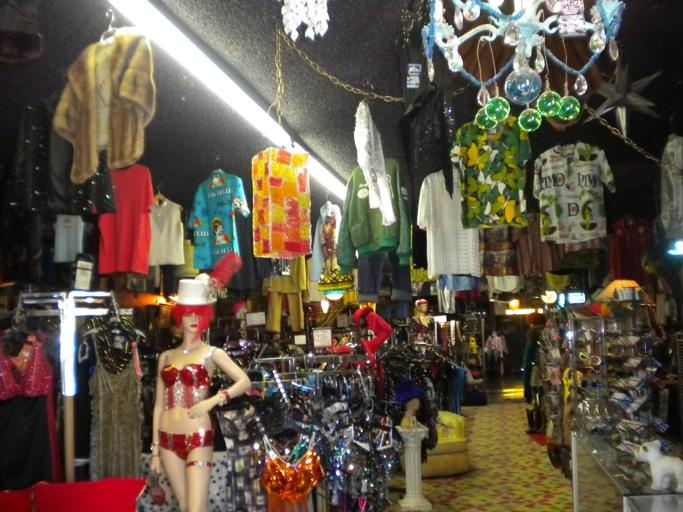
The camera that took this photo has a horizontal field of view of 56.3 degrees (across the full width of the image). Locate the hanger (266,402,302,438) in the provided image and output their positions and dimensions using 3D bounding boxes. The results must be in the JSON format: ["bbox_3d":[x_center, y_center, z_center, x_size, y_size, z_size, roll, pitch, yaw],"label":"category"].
[{"bbox_3d":[-0.382,1.050,4.129,0.203,0.232,0.086,9,5,28],"label":"hanger"}]

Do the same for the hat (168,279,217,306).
[{"bbox_3d":[-1.061,0.261,4.581,0.370,0.201,0.424,3,-3,-29],"label":"hat"}]

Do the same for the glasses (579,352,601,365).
[{"bbox_3d":[2.281,0.934,5.811,0.122,0.044,0.131,11,-14,-5],"label":"glasses"}]

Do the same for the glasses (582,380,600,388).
[{"bbox_3d":[2.263,1.155,5.750,0.069,0.079,0.132,-2,-6,-21],"label":"glasses"}]

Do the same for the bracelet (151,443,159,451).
[{"bbox_3d":[-1.225,1.267,4.211,0.050,0.071,0.028,-10,-11,33],"label":"bracelet"}]

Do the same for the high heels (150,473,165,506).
[{"bbox_3d":[-1.225,1.552,4.253,0.086,0.254,0.166,1,-1,-8],"label":"high heels"}]

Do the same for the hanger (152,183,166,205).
[{"bbox_3d":[-1.971,-0.649,6.951,0.134,0.248,0.300,0,-10,-20],"label":"hanger"}]

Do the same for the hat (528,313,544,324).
[{"bbox_3d":[3.006,0.956,9.876,0.190,0.206,0.152,-4,4,-23],"label":"hat"}]

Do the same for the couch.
[{"bbox_3d":[1.203,2.221,7.331,0.781,0.808,0.856,2,-18,-4],"label":"couch"}]

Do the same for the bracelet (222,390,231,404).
[{"bbox_3d":[-0.740,0.901,4.107,0.066,0.081,0.073,-8,2,-24],"label":"bracelet"}]

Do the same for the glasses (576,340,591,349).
[{"bbox_3d":[2.276,0.824,5.931,0.028,0.089,0.084,0,-29,-17],"label":"glasses"}]

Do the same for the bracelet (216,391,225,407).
[{"bbox_3d":[-0.771,0.921,4.100,0.027,0.080,0.074,12,22,-5],"label":"bracelet"}]

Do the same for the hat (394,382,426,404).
[{"bbox_3d":[0.560,1.130,5.328,0.132,0.184,0.413,-9,-10,28],"label":"hat"}]

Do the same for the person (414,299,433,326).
[{"bbox_3d":[1.080,0.767,8.525,0.199,0.379,0.733,-5,-10,6],"label":"person"}]

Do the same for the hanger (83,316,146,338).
[{"bbox_3d":[-1.883,0.589,5.238,0.291,0.105,0.304,-1,-7,10],"label":"hanger"}]

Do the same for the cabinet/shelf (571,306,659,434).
[{"bbox_3d":[2.330,0.973,5.464,0.715,1.125,1.081,-8,-10,26],"label":"cabinet/shelf"}]
